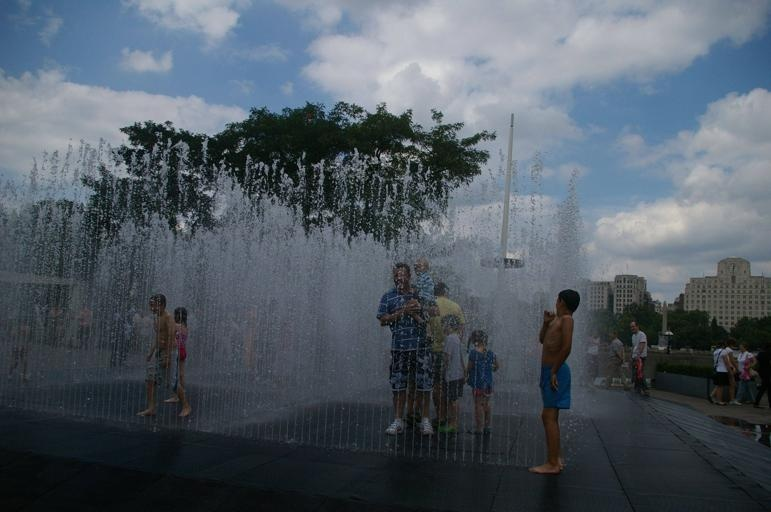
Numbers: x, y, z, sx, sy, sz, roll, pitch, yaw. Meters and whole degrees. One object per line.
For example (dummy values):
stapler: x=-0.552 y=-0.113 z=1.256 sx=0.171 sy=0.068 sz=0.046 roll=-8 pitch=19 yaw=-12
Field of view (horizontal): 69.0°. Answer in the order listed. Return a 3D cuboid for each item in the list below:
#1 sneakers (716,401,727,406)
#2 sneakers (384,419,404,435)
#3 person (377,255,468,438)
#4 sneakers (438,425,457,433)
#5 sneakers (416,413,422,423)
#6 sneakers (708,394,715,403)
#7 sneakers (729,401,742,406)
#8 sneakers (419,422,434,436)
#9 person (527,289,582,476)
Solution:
sneakers: x=9.153 y=4.055 z=15.240 sx=0.306 sy=0.107 sz=0.108 roll=0 pitch=0 yaw=-23
sneakers: x=0.145 y=2.786 z=9.043 sx=0.146 sy=0.193 sz=0.411 roll=-2 pitch=-19 yaw=25
person: x=0.428 y=1.510 z=9.156 sx=1.035 sy=2.664 sz=0.732 roll=3 pitch=-1 yaw=-39
sneakers: x=1.018 y=2.877 z=9.216 sx=0.214 sy=0.083 sz=0.116 roll=8 pitch=-6 yaw=-8
sneakers: x=0.569 y=2.833 z=9.704 sx=0.104 sy=0.171 sz=0.117 roll=0 pitch=0 yaw=-15
sneakers: x=9.024 y=3.973 z=15.442 sx=0.141 sy=0.197 sz=0.526 roll=2 pitch=0 yaw=29
sneakers: x=9.517 y=4.040 z=15.236 sx=0.378 sy=0.161 sz=0.127 roll=0 pitch=1 yaw=-9
sneakers: x=0.683 y=2.808 z=9.090 sx=0.202 sy=0.236 sz=0.286 roll=3 pitch=0 yaw=11
person: x=2.366 y=1.755 z=7.850 sx=0.534 sy=2.271 sz=0.477 roll=3 pitch=0 yaw=19
